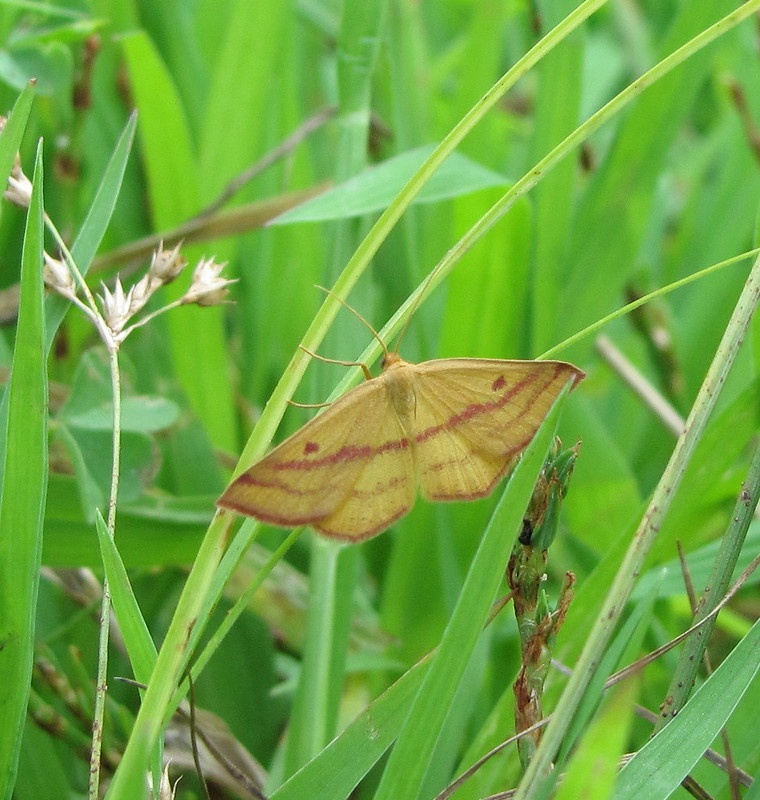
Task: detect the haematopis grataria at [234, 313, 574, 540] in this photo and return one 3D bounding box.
[{"bbox_3d":[0.022,0.033,1.132,0.403,0.110,0.231,-19,-53,4],"label":"haematopis grataria"}]
